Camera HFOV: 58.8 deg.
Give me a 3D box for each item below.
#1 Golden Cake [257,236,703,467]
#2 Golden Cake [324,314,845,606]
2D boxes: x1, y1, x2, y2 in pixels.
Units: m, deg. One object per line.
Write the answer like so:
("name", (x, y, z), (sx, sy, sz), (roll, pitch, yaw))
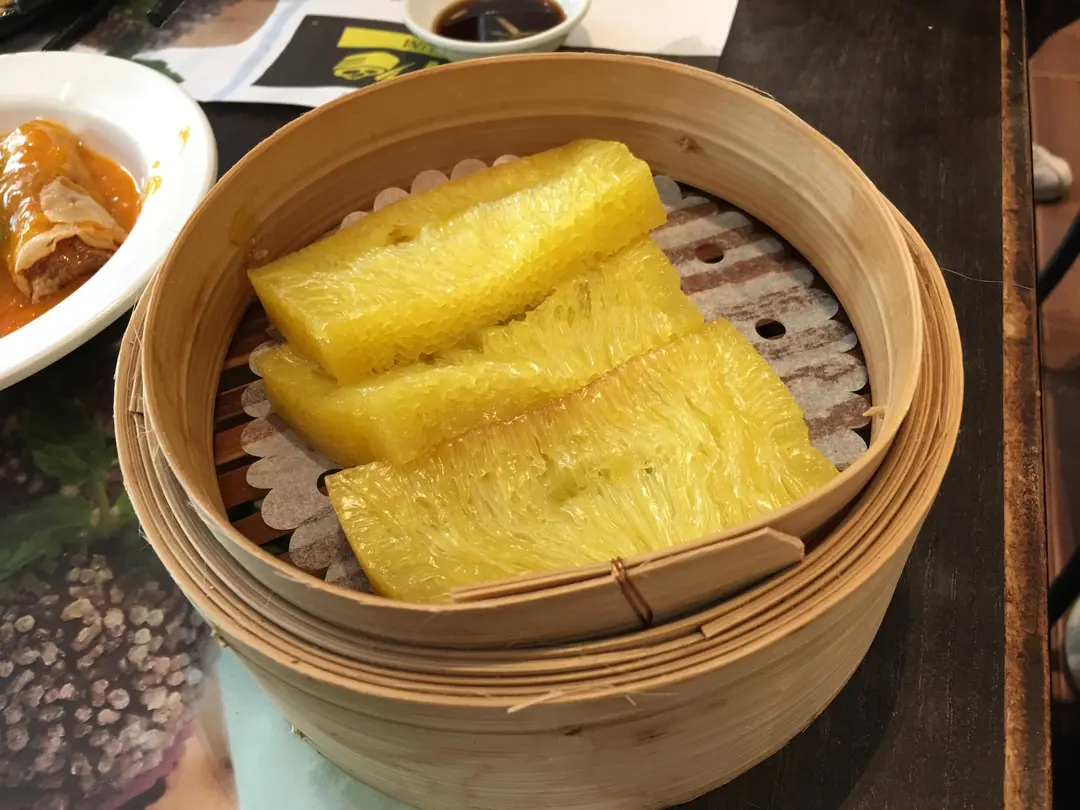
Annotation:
("Golden Cake", (-0.072, -0.071, 1.640), (0.564, 0.136, 0.431), (-16, 38, -11))
("Golden Cake", (0.104, 0.109, 1.554), (0.784, 0.175, 0.343), (-17, 62, -4))
